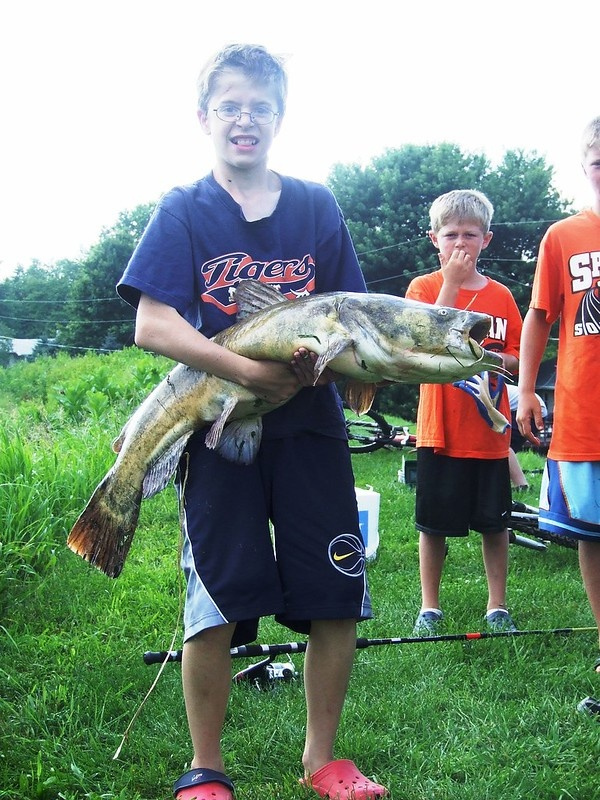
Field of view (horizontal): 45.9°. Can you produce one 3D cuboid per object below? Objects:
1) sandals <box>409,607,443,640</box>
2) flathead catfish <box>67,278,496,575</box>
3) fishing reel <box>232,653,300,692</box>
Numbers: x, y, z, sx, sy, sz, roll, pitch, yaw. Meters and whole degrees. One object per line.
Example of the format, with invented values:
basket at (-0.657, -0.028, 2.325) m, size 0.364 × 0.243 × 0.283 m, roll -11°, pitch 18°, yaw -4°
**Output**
sandals at (0.615, 1.095, 3.452) m, size 0.096 × 0.110 × 0.274 m, roll 0°, pitch -11°, yaw 17°
flathead catfish at (-0.064, 0.110, 1.943) m, size 1.138 × 0.854 × 0.292 m, roll 5°, pitch 5°, yaw 22°
fishing reel at (-0.076, 1.092, 2.880) m, size 0.369 × 0.148 × 0.104 m, roll -8°, pitch -3°, yaw 9°
